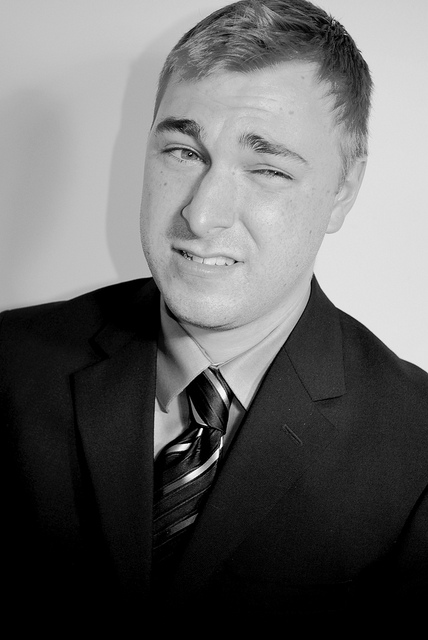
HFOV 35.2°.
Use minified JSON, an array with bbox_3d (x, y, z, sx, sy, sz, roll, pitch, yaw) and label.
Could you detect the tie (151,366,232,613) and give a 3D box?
[{"bbox_3d":[-0.053,0.337,1.421,0.139,0.498,0.054,14,-13,2],"label":"tie"}]
